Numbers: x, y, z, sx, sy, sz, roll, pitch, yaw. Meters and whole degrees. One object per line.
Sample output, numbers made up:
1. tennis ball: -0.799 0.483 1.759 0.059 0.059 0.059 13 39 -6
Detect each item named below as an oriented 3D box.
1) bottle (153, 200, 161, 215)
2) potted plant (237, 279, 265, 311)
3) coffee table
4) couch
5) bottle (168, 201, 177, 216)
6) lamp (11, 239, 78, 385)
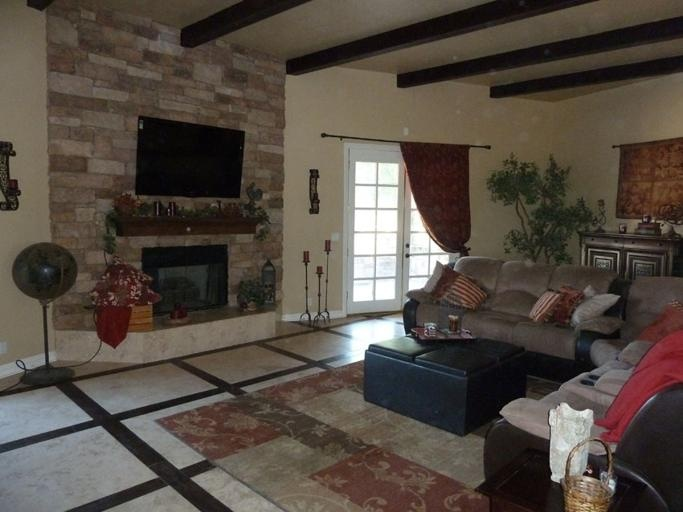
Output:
1. bottle: -2.019 -0.526 5.305 0.083 0.144 0.198 -3 11 -21
2. potted plant: -1.145 0.471 6.135 0.350 0.306 0.489 -1 11 -12
3. coffee table: 0.959 0.893 3.978 0.843 0.407 0.835 -2 4 -40
4. couch: 1.908 1.118 4.494 1.620 0.524 1.775 -7 11 -34
5. bottle: -1.894 -0.530 5.406 0.074 0.151 0.179 0 11 -6
6. lamp: -2.783 0.519 4.526 0.551 1.278 0.525 -1 11 -10
